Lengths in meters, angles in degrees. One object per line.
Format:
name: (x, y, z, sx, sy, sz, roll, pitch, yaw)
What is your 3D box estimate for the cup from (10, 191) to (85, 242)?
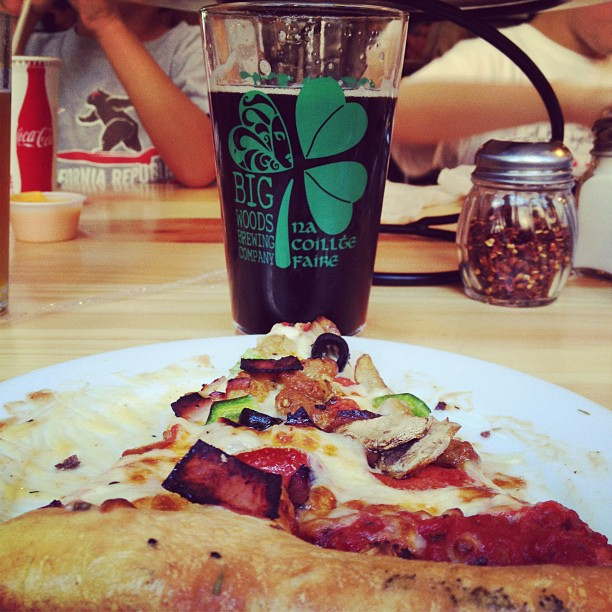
cup: (-0.473, -0.157, 1.196, 0.136, 0.045, 0.111, 1, 15, -1)

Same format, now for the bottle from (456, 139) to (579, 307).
bottle: (0.297, -0.128, 1.013, 0.232, 0.233, 0.183, -5, 22, -2)
